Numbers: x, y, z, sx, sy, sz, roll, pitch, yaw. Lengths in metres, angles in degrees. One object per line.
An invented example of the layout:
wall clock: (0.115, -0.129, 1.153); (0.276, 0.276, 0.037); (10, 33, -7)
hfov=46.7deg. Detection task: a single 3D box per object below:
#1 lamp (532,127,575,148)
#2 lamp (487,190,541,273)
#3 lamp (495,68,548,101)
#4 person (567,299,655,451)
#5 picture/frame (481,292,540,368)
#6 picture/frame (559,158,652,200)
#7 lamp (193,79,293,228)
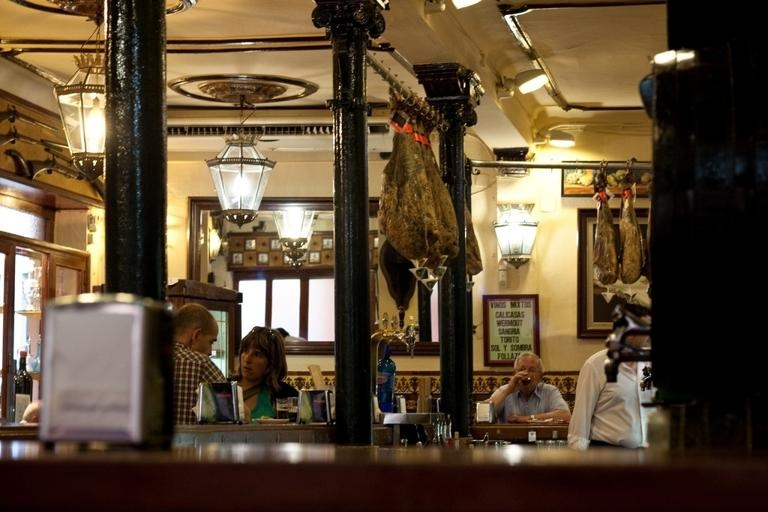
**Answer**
lamp: (1.868, -1.318, 9.645); (0.402, 0.105, 0.272); (2, -4, -1)
lamp: (1.499, -0.247, 10.083); (0.495, 0.763, 0.416); (0, -5, 8)
lamp: (1.253, -1.594, 8.204); (0.462, 0.248, 0.324); (-11, -5, 26)
person: (1.515, 0.830, 6.030); (0.546, 0.976, 0.954); (-1, -5, 16)
picture/frame: (1.428, 0.855, 9.924); (0.917, 1.017, 0.070); (0, -7, 2)
picture/frame: (2.368, -0.849, 9.610); (1.109, 0.454, 0.041); (1, -18, -3)
lamp: (-1.263, -0.985, 7.852); (0.569, 1.448, 0.982); (1, -5, -9)
